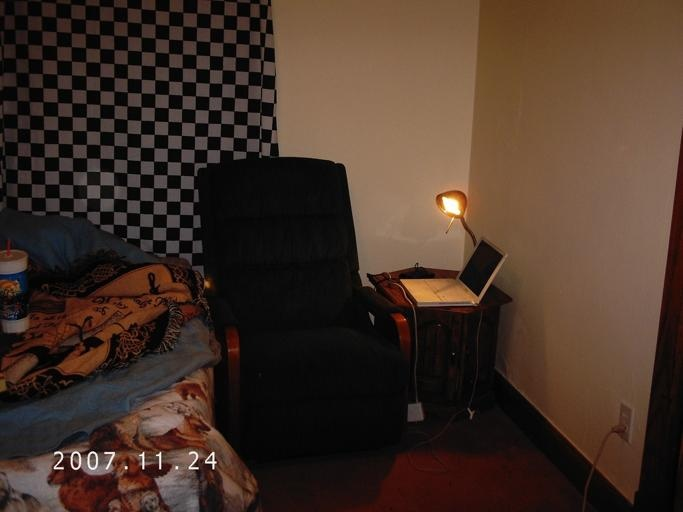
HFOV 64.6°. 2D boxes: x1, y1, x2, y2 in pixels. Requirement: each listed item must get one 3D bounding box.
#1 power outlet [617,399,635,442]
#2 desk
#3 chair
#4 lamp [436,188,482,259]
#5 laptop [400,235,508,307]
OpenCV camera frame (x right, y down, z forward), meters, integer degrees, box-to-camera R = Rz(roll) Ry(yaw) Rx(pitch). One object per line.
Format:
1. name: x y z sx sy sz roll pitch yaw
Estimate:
1. power outlet: 1.112 0.654 2.126 0.032 0.142 0.081 -4 11 -9
2. desk: 0.544 0.389 2.934 0.612 0.685 0.679 3 14 9
3. chair: -0.190 0.190 2.546 0.850 1.280 0.825 -6 11 -16
4. lamp: 0.640 -0.145 2.865 0.222 0.370 0.164 -9 -2 -4
5. laptop: 0.569 0.077 2.763 0.534 0.283 0.426 -2 12 6
